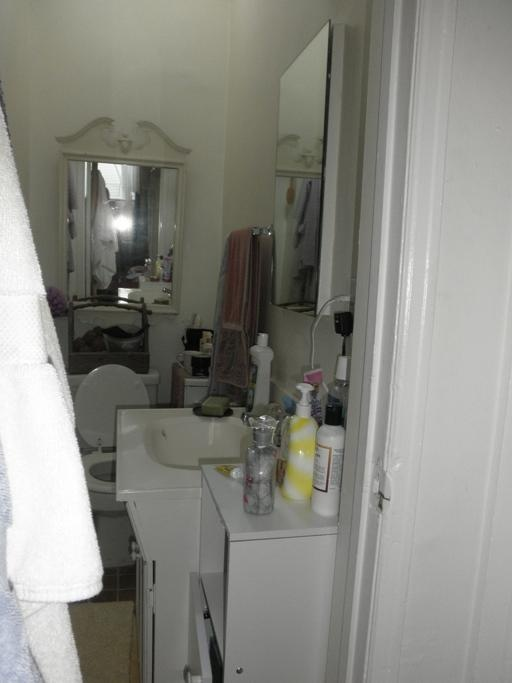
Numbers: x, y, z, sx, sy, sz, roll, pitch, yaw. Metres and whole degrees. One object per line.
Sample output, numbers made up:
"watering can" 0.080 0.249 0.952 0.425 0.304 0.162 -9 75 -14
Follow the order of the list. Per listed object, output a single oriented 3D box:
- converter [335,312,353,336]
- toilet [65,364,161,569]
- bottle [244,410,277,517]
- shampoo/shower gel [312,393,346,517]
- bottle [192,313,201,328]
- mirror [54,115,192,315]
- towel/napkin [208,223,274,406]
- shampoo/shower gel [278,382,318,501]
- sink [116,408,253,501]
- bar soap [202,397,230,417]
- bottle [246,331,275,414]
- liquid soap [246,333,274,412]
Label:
"converter" 0.148 -0.029 1.010 0.031 0.043 0.033 2 10 7
"toilet" -0.452 0.430 2.012 0.303 0.667 0.347 0 10 -10
"bottle" 0.012 0.199 0.941 0.036 0.144 0.055 0 10 -15
"shampoo/shower gel" 0.113 0.187 0.930 0.047 0.178 0.037 2 9 8
"bottle" -0.204 -0.070 2.012 0.027 0.046 0.007 -1 9 -8
"mirror" -0.364 -0.395 1.837 0.381 0.555 0.027 -6 14 -33
"towel/napkin" -0.013 -0.072 1.796 0.111 0.715 0.238 -1 6 -26
"shampoo/shower gel" 0.061 0.170 1.008 0.067 0.188 0.070 2 4 -5
"sink" -0.154 0.245 1.453 0.329 0.141 0.451 1 7 -15
"bar soap" -0.113 0.177 1.636 0.041 0.026 0.082 -1 17 -6
"bottle" -0.004 0.088 1.511 0.052 0.183 0.086 1 10 -17
"liquid soap" -0.006 0.077 1.513 0.050 0.182 0.086 1 10 -16
